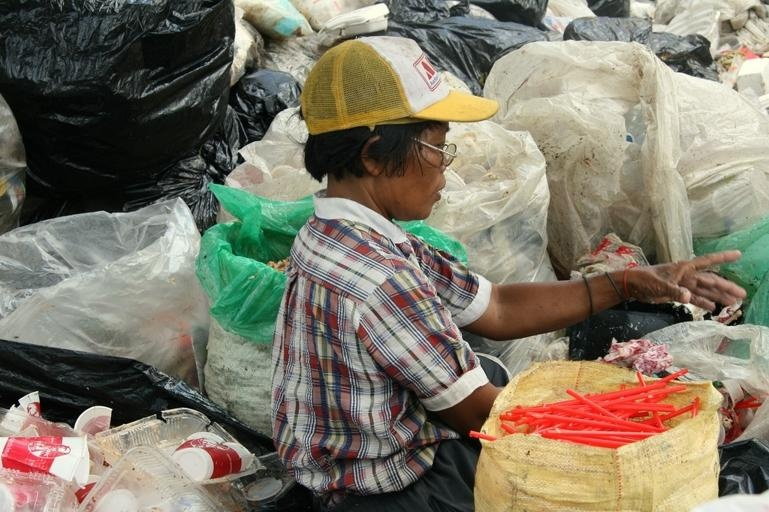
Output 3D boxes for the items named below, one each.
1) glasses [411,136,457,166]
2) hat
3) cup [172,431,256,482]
[{"bbox_3d":[0.144,-0.301,2.173,0.119,0.039,0.115,4,1,5],"label":"glasses"},{"bbox_3d":[0.024,-0.451,2.126,0.423,0.184,0.273,-3,23,14],"label":"hat"},{"bbox_3d":[-0.537,0.598,2.344,0.159,0.158,0.161,-10,-13,-2],"label":"cup"}]
